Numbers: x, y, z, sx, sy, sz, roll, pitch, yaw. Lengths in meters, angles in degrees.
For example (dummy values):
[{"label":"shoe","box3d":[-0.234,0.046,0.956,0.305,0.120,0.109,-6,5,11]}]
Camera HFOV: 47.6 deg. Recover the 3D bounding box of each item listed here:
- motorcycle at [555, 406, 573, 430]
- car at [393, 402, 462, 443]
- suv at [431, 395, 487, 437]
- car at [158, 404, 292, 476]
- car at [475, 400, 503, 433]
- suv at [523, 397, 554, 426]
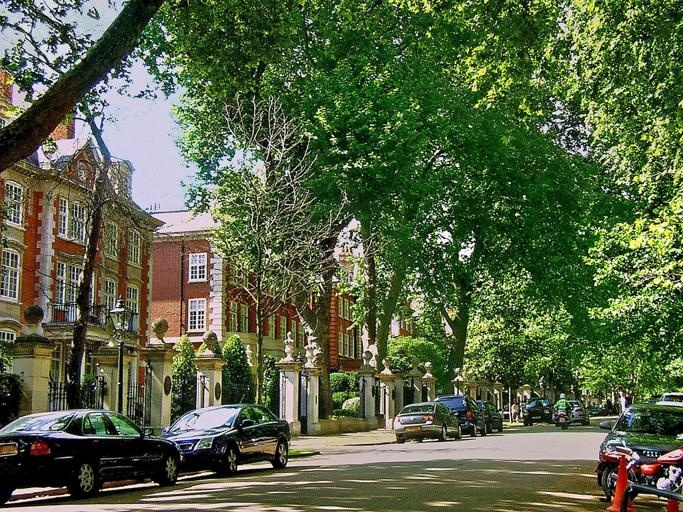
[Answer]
[{"label":"motorcycle","box3d":[13.811,10.085,48.242,0.844,1.072,1.925,-4,-19,13]},{"label":"car","box3d":[3.714,6.962,32.742,3.100,1.614,1.267,10,-20,-38]},{"label":"suv","box3d":[6.164,8.022,38.411,1.517,1.202,3.388,-3,-22,12]},{"label":"car","box3d":[-2.842,4.804,20.627,1.591,1.106,3.306,-8,-20,22]},{"label":"car","box3d":[7.875,8.739,42.406,1.415,1.249,2.633,-5,-9,26]},{"label":"suv","box3d":[14.331,11.370,56.463,1.338,1.196,2.494,-4,-24,14]}]
